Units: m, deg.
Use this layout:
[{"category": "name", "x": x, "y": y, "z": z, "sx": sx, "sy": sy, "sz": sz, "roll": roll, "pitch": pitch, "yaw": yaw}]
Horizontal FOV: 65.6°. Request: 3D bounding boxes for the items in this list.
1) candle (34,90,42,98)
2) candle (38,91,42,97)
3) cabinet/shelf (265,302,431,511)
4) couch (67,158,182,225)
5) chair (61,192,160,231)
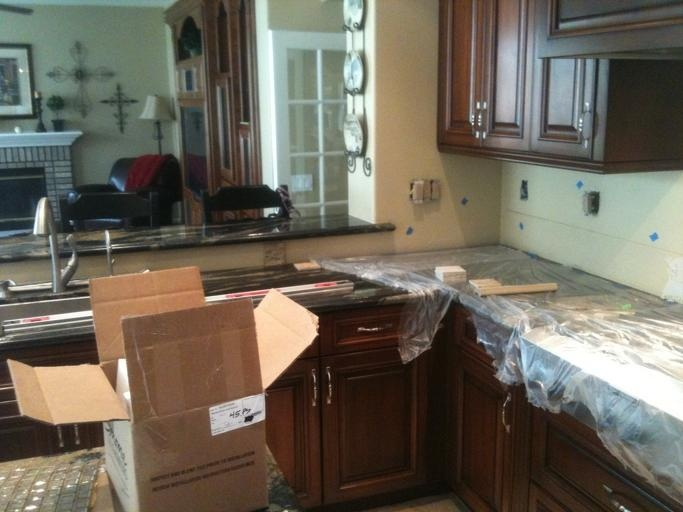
[{"category": "candle", "x": -3.495, "y": -1.861, "z": 6.029, "sx": 0.090, "sy": 0.084, "sz": 0.087, "roll": -5, "pitch": 13, "yaw": -8}, {"category": "candle", "x": -3.453, "y": -1.860, "z": 6.033, "sx": 0.030, "sy": 0.038, "sz": 0.031, "roll": 16, "pitch": 32, "yaw": 29}, {"category": "cabinet/shelf", "x": 0.020, "y": 0.553, "z": 2.011, "sx": 0.778, "sy": 0.780, "sz": 0.405, "roll": -6, "pitch": 15, "yaw": -22}, {"category": "couch", "x": -1.904, "y": -0.603, "z": 4.733, "sx": 0.658, "sy": 0.902, "sz": 0.888, "roll": -4, "pitch": 11, "yaw": -28}, {"category": "chair", "x": -1.370, "y": -0.265, "z": 3.122, "sx": 0.424, "sy": 0.316, "sz": 0.256, "roll": -1, "pitch": 29, "yaw": -9}]
